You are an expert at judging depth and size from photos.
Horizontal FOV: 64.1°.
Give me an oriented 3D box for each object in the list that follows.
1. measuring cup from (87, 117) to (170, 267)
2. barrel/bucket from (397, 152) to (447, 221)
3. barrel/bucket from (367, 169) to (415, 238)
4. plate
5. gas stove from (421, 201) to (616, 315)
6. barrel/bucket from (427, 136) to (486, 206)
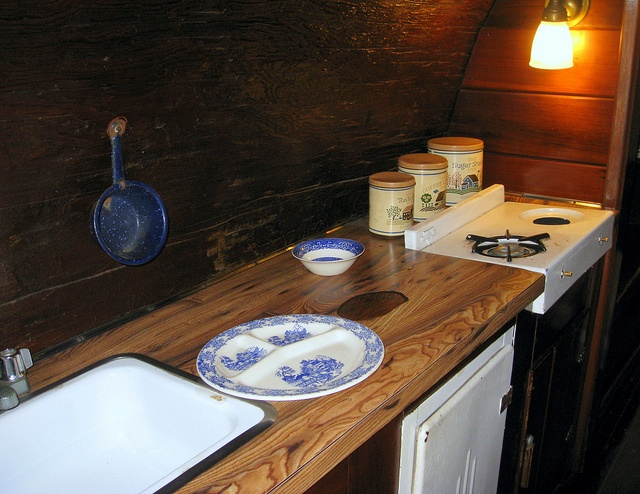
[{"bbox_3d":[-0.444,-0.128,1.180,0.151,0.302,0.222,22,27,31],"label":"measuring cup"},{"bbox_3d":[0.395,-0.237,1.965,0.182,0.236,0.162,18,26,34],"label":"barrel/bucket"},{"bbox_3d":[0.253,-0.148,1.799,0.268,0.206,0.227,-2,18,-3],"label":"barrel/bucket"},{"bbox_3d":[-0.057,0.244,1.152,0.386,0.040,0.350,-14,25,-25],"label":"plate"},{"bbox_3d":[0.735,-0.005,1.855,0.434,0.163,0.764,20,32,35],"label":"gas stove"},{"bbox_3d":[0.530,-0.308,2.113,0.228,0.265,0.194,3,22,-7],"label":"barrel/bucket"}]
